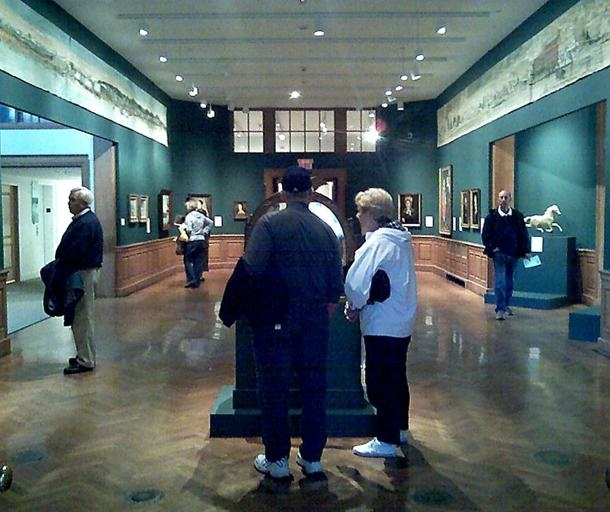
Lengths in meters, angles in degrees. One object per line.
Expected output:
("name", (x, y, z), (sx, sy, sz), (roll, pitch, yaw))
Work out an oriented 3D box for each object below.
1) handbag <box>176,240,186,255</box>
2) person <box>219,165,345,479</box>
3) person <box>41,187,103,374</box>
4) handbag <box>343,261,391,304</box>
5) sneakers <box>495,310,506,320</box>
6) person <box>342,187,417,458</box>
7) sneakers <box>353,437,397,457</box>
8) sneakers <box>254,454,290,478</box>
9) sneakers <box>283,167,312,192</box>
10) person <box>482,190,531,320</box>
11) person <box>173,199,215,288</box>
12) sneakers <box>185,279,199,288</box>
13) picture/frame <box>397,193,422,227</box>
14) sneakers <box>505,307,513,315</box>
("handbag", (-2.627, -0.185, 10.903), (0.201, 0.298, 0.251), (-1, 5, -15))
("person", (-0.130, 0.552, 3.022), (0.661, 1.628, 0.346), (-3, 4, -31))
("person", (-2.278, 0.374, 5.024), (0.545, 1.623, 0.352), (-3, 4, -31))
("handbag", (0.437, 0.181, 3.236), (0.180, 0.190, 0.138), (43, 13, 0))
("sneakers", (2.893, 0.862, 7.564), (0.082, 0.127, 0.269), (1, 7, 14))
("person", (0.509, 0.457, 3.354), (0.611, 1.788, 0.327), (-3, 5, -34))
("sneakers", (0.481, 1.287, 3.491), (0.301, 0.169, 0.121), (4, -6, 3))
("sneakers", (-0.205, 1.293, 3.226), (0.103, 0.146, 0.258), (4, 1, -37))
("sneakers", (-0.053, -0.481, 3.168), (0.111, 0.090, 0.176), (1, 22, 1))
("person", (2.893, 0.005, 7.394), (0.679, 1.850, 0.352), (-2, 4, -18))
("person", (-2.380, -0.280, 11.119), (0.703, 1.804, 1.083), (-1, 4, -12))
("sneakers", (-2.383, 0.593, 10.842), (0.304, 0.113, 0.288), (-2, 6, -16))
("picture/frame", (2.624, -1.158, 12.871), (0.574, 0.970, 0.097), (1, 31, 15))
("sneakers", (3.146, 0.866, 7.898), (0.075, 0.134, 0.179), (2, 7, 20))
